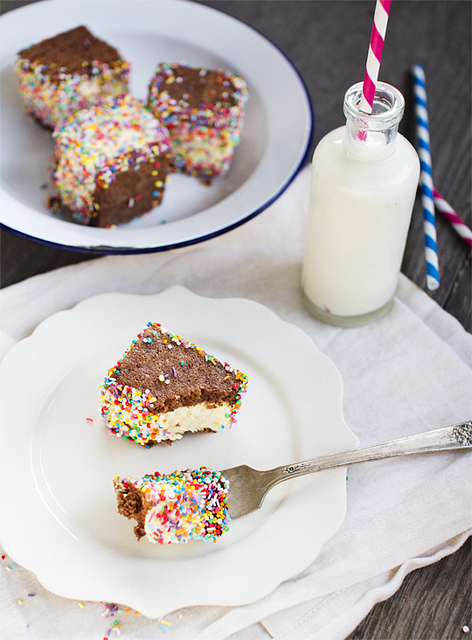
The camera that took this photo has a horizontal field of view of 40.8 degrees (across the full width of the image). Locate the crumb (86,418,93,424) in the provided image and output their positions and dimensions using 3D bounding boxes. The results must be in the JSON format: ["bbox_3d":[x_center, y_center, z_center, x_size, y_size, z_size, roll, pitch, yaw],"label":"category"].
[{"bbox_3d":[-0.302,0.208,1.312,0.013,0.003,0.010,-2,41,-6],"label":"crumb"}]

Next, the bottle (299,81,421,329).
[{"bbox_3d":[0.258,-0.206,1.339,0.236,0.577,0.188,14,43,12],"label":"bottle"}]

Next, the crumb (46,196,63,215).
[{"bbox_3d":[-0.471,-0.299,1.647,0.035,0.043,0.046,-16,86,-20],"label":"crumb"}]

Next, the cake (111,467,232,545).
[{"bbox_3d":[-0.108,0.333,1.148,0.169,0.065,0.131,2,44,-17],"label":"cake"}]

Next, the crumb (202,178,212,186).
[{"bbox_3d":[-0.079,-0.381,1.766,0.021,0.007,0.015,-36,65,-15],"label":"crumb"}]

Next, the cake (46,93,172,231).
[{"bbox_3d":[-0.339,-0.420,1.713,0.263,0.238,0.267,-17,62,-21],"label":"cake"}]

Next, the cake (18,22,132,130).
[{"bbox_3d":[-0.444,-0.611,1.751,0.263,0.177,0.259,-32,67,-27],"label":"cake"}]

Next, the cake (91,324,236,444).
[{"bbox_3d":[-0.140,0.126,1.357,0.281,0.151,0.233,-7,41,-19],"label":"cake"}]

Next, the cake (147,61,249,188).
[{"bbox_3d":[-0.103,-0.524,1.737,0.300,0.291,0.173,15,27,5],"label":"cake"}]
